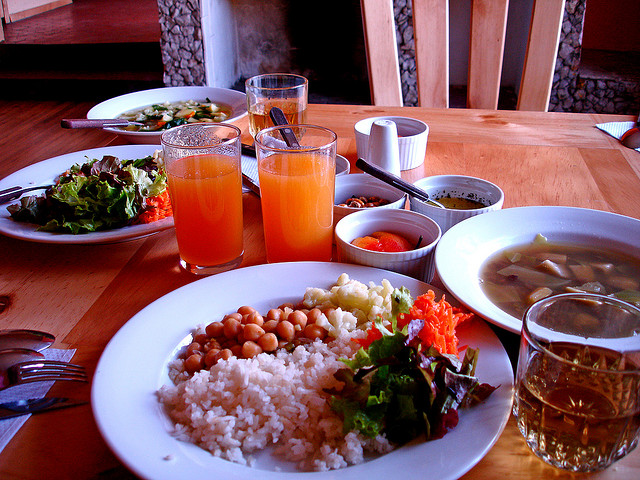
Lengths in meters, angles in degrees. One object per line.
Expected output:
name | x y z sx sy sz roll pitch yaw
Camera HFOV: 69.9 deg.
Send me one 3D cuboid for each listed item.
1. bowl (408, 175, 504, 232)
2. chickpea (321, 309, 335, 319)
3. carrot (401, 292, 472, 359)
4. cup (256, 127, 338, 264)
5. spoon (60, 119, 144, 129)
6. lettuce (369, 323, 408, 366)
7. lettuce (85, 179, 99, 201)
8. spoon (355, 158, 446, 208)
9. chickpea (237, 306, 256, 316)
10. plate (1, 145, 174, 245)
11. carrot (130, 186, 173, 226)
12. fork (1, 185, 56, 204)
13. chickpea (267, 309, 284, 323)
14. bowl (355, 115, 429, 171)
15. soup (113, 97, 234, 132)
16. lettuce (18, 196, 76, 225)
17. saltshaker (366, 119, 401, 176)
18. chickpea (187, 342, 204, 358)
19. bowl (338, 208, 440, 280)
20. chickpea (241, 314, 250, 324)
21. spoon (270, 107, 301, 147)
bowl | 0.319 -0.098 1.105 0.164 0.131 0.180 -12 27 -21
chickpea | 0.018 0.132 0.828 0.016 0.013 0.016 -3 24 -6
carrot | 0.192 0.124 0.745 0.092 0.052 0.105 27 14 19
cup | -0.046 -0.098 1.020 0.182 0.284 0.191 1 29 -1
spoon | -0.686 -0.361 1.442 0.044 0.036 0.302 9 18 32
lettuce | 0.097 0.154 0.655 0.052 0.042 0.015 -8 30 -17
lettuce | -0.513 -0.109 1.032 0.029 0.038 0.013 3 -7 -8
spoon | 0.203 -0.148 1.115 0.208 0.112 0.162 10 31 14
chickpea | -0.134 0.129 0.831 0.019 0.012 0.015 -2 9 -25
plate | -0.542 -0.099 1.092 0.405 0.173 0.289 -16 19 -39
carrot | -0.405 -0.076 1.099 0.080 0.036 0.094 0 27 8
fork | -0.694 -0.105 1.090 0.021 0.018 0.152 2 14 20
chickpea | -0.077 0.133 0.814 0.022 0.012 0.022 16 -1 -20
bowl | 0.245 -0.316 1.424 0.245 0.120 0.243 -3 12 1
soup | -0.537 -0.446 1.649 0.269 0.055 0.266 -18 30 -31
lettuce | -0.621 -0.063 1.031 0.150 0.061 0.049 13 31 18
saltshaker | 0.175 -0.245 1.218 0.047 0.133 0.091 8 24 26
chickpea | -0.211 0.185 0.780 0.021 0.021 0.019 -47 19 -30
bowl | 0.142 0.011 0.968 0.210 0.107 0.140 8 30 9
chickpea | -0.131 0.140 0.807 0.012 0.012 0.012 2 16 1
spoon | -0.094 -0.284 1.111 0.039 0.028 0.272 -10 38 -13
